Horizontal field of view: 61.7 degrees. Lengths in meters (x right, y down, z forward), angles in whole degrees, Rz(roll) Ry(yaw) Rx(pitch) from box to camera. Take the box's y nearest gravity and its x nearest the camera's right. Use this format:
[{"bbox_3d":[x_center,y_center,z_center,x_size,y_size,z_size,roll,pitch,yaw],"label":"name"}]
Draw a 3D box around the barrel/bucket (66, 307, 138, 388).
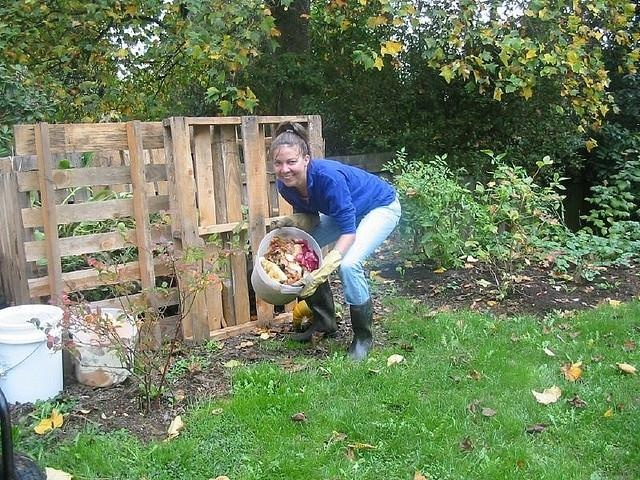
[{"bbox_3d":[-1.648,0.824,4.126,0.487,0.662,0.881,-1,0,-23],"label":"barrel/bucket"}]
